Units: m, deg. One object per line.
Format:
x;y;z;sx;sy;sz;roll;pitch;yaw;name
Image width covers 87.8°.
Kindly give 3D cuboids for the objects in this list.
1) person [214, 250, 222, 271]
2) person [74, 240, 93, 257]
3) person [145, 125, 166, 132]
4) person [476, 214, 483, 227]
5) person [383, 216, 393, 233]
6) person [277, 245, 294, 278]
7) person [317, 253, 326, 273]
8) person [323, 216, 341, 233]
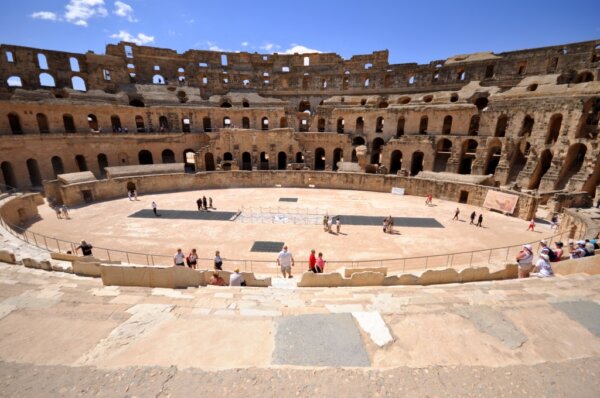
-3.753;2.846;14.312;0.362;0.913;0.772;-9;28;-10;person
-10.706;2.466;15.506;0.476;0.945;1.946;-9;15;-41;person
-16.199;-7.792;35.220;1.728;0.451;1.439;2;12;4;person
11.609;1.329;20.178;0.307;0.752;1.195;11;14;30;person
5.400;1.519;19.194;0.546;1.006;0.670;6;13;13;person
-0.667;2.876;14.240;0.644;1.623;1.021;2;13;-2;person
0.882;2.749;13.761;0.285;0.996;0.782;6;13;12;person
1.930;1.661;19.880;1.462;0.932;0.296;2;-15;4;person
